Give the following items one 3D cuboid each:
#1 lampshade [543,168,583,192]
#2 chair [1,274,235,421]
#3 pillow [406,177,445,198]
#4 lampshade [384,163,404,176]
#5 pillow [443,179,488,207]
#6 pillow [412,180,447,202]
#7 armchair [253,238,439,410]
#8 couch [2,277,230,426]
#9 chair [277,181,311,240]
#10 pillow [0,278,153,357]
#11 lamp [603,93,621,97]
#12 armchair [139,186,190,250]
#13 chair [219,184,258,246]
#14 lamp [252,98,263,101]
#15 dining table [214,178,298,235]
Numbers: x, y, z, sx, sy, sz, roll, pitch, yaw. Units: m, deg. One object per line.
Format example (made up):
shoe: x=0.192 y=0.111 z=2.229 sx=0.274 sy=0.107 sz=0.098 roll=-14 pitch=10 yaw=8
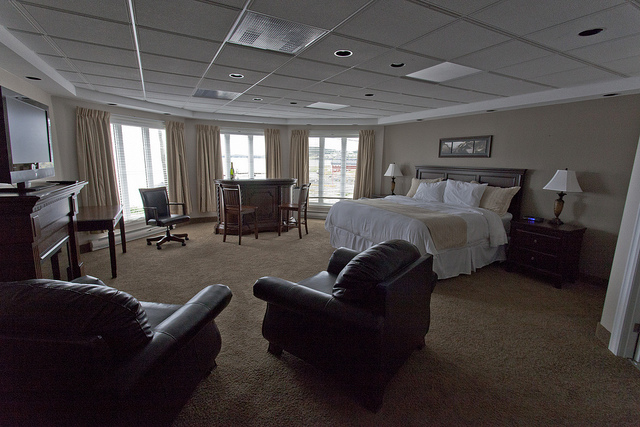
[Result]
lampshade: x=3.236 y=-0.436 z=5.319 sx=0.361 sy=0.229 sz=0.341 roll=2 pitch=3 yaw=14
chair: x=-1.648 y=0.823 z=3.329 sx=1.487 sy=1.121 sz=1.355 roll=3 pitch=5 yaw=17
pillow: x=1.929 y=-0.445 z=7.594 sx=0.137 sy=0.390 sz=0.441 roll=28 pitch=-8 yaw=-15
lampshade: x=1.504 y=-0.872 z=8.199 sx=0.306 sy=0.274 sz=0.263 roll=0 pitch=0 yaw=-1
pillow: x=2.342 y=-0.324 z=6.540 sx=0.156 sy=0.465 sz=0.514 roll=29 pitch=-7 yaw=-41
pillow: x=1.958 y=-0.394 z=7.056 sx=0.132 sy=0.397 sz=0.436 roll=38 pitch=-15 yaw=-36
armchair: x=0.299 y=0.872 z=4.097 sx=1.598 sy=1.146 sz=1.542 roll=6 pitch=14 yaw=25
couch: x=-1.476 y=1.015 z=3.288 sx=1.462 sy=1.033 sz=1.362 roll=1 pitch=2 yaw=17
chair: x=-0.503 y=-0.047 z=7.753 sx=0.739 sy=0.923 sz=0.678 roll=-4 pitch=8 yaw=-27
pillow: x=-1.688 y=0.574 z=2.922 sx=0.776 sy=0.412 sz=0.691 roll=10 pitch=1 yaw=-1
lamp: x=3.769 y=-1.533 z=5.167 sx=0.182 sy=0.035 sz=0.164 roll=12 pitch=16 yaw=39
armchair: x=-2.624 y=0.061 z=6.777 sx=0.738 sy=0.896 sz=0.664 roll=8 pitch=14 yaw=17
chair: x=-1.425 y=0.008 z=7.176 sx=0.670 sy=0.976 sz=0.622 roll=-2 pitch=6 yaw=-24
lamp: x=-1.023 y=-1.858 z=6.502 sx=0.128 sy=0.027 sz=0.207 roll=7 pitch=14 yaw=26
dining table: x=-1.311 y=-0.299 z=7.815 sx=1.801 sy=1.011 sz=1.112 roll=-3 pitch=6 yaw=-36
